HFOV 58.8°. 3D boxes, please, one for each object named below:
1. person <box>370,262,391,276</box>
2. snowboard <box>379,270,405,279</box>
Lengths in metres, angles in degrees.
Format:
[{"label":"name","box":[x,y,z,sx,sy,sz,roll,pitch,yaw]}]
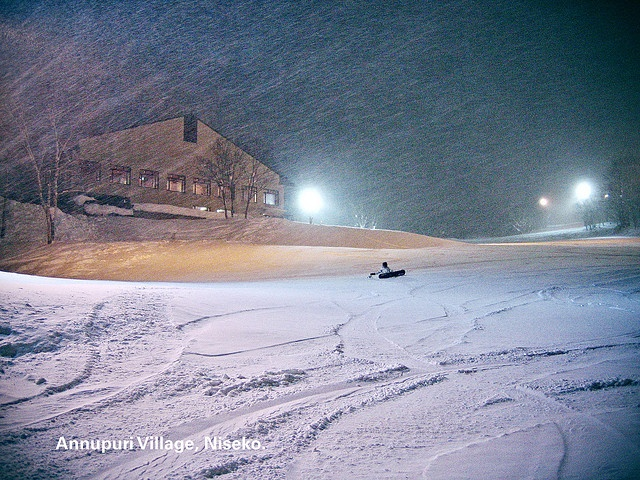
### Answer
[{"label":"person","box":[2.435,1.139,22.012,0.614,0.339,0.887,-2,-5,-30]},{"label":"snowboard","box":[2.781,1.329,21.706,1.245,0.320,0.432,4,-7,-41]}]
